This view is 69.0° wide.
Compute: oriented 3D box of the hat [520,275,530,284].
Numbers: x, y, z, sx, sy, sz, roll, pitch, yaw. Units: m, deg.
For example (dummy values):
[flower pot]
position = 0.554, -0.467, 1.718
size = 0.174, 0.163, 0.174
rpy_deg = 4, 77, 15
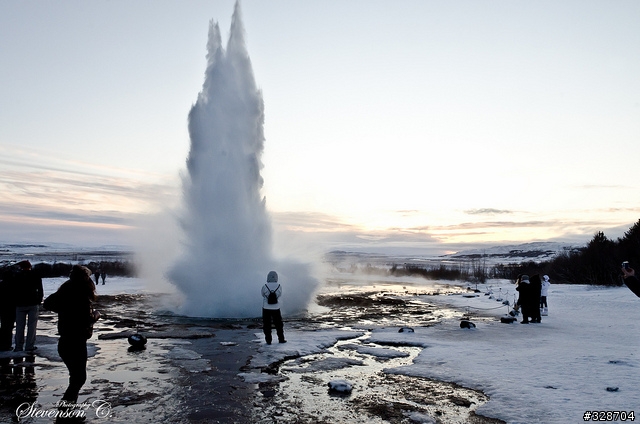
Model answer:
[hat]
position = 10.872, 3.607, 24.705
size = 0.447, 0.403, 0.408
rpy_deg = -3, -9, 44

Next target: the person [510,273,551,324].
[person]
position = 11.071, 4.637, 24.632
size = 1.079, 2.590, 1.364
rpy_deg = 1, 0, 7
